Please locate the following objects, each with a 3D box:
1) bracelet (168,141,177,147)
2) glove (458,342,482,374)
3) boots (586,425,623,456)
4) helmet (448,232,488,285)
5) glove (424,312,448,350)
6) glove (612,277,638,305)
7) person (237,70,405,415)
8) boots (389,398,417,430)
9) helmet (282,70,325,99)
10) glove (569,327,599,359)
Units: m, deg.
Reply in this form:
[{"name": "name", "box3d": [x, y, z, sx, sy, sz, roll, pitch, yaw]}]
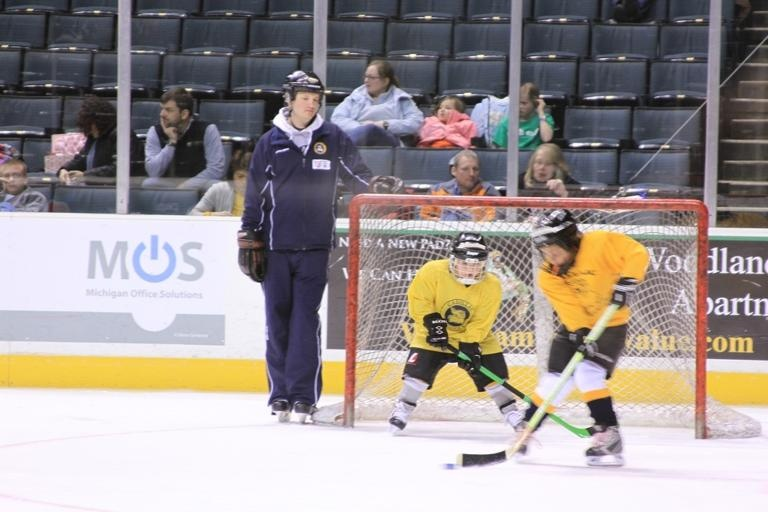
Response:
[{"name": "bracelet", "box3d": [-1.525, -0.813, 9.871, 0.068, 0.039, 0.021, 1, 38, -1]}, {"name": "glove", "box3d": [0.541, 0.641, 8.628, 0.079, 0.159, 0.192, -7, 0, -13]}, {"name": "boots", "box3d": [1.316, 1.102, 8.168, 0.258, 0.198, 0.147, -2, -10, 9]}, {"name": "helmet", "box3d": [0.464, 0.023, 8.683, 0.285, 0.303, 0.336, 2, 18, -4]}, {"name": "glove", "box3d": [0.322, 0.465, 8.590, 0.159, 0.205, 0.097, -10, -3, 6]}, {"name": "glove", "box3d": [1.446, 0.211, 8.282, 0.155, 0.180, 0.113, 4, 4, 8]}, {"name": "person", "box3d": [-0.539, -0.062, 8.815, 0.812, 2.253, 0.341, 4, 5, -2]}, {"name": "boots", "box3d": [0.127, 1.013, 8.748, 0.143, 0.212, 0.301, 5, 4, 15]}, {"name": "helmet", "box3d": [-0.540, -1.122, 8.801, 0.215, 0.148, 0.176, -11, 35, -34]}, {"name": "glove", "box3d": [1.201, 0.519, 8.265, 0.176, 0.049, 0.169, 35, -29, -6]}]
